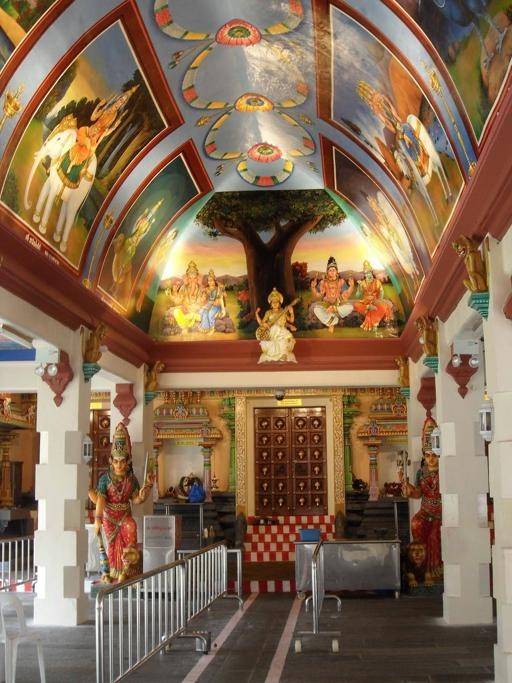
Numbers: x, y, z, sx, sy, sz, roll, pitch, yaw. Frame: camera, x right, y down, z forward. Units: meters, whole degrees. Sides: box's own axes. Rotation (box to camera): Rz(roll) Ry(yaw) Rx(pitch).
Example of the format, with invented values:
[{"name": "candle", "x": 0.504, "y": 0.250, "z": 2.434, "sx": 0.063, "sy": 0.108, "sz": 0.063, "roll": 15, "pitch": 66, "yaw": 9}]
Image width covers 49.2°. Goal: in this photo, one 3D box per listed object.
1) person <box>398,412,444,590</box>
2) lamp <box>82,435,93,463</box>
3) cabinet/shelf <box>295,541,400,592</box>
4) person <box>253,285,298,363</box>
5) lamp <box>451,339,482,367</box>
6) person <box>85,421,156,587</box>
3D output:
[{"name": "person", "x": 2.714, "y": 2.912, "z": 9.179, "sx": 0.663, "sy": 2.177, "sz": 0.598, "roll": -4, "pitch": -13, "yaw": 11}, {"name": "lamp", "x": -2.399, "y": 1.548, "z": 7.976, "sx": 0.100, "sy": 0.397, "sz": 0.305, "roll": 1, "pitch": -13, "yaw": -10}, {"name": "cabinet/shelf", "x": 1.425, "y": 3.660, "z": 9.009, "sx": 1.819, "sy": 0.812, "sz": 0.617, "roll": 4, "pitch": -21, "yaw": -11}, {"name": "person", "x": 0.471, "y": -0.355, "z": 12.125, "sx": 0.915, "sy": 1.618, "sz": 0.599, "roll": -1, "pitch": -13, "yaw": -2}, {"name": "lamp", "x": 2.685, "y": 0.166, "z": 7.108, "sx": 0.343, "sy": 0.312, "sz": 0.433, "roll": -6, "pitch": -13, "yaw": 18}, {"name": "person", "x": -1.955, "y": 2.321, "z": 8.109, "sx": 0.485, "sy": 2.273, "sz": 0.838, "roll": -13, "pitch": -17, "yaw": 40}]
